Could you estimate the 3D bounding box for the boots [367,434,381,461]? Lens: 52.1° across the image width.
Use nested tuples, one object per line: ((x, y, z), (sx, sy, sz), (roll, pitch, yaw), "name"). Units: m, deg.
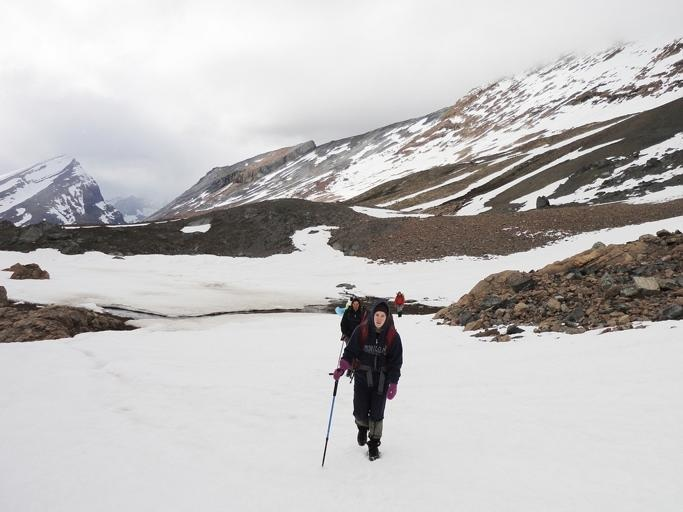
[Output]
((1.284, 7.217, 26.336), (0.535, 0.866, 0.431), (1, 12, -10), "boots")
